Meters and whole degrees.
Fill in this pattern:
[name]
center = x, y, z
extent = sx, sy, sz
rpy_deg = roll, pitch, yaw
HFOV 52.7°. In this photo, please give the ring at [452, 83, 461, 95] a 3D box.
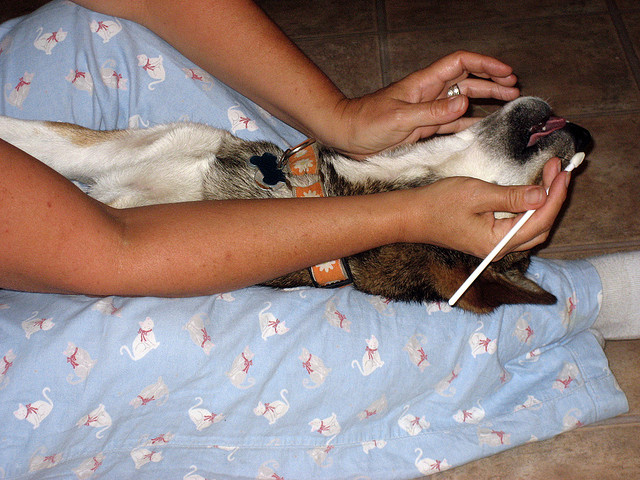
[ring]
center = 0.567, -0.624, 2.672
extent = 0.034, 0.045, 0.045
rpy_deg = -12, 104, 10
